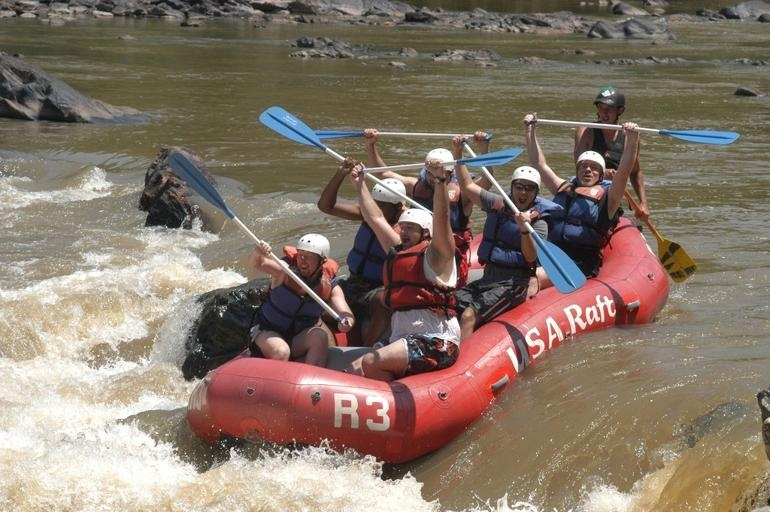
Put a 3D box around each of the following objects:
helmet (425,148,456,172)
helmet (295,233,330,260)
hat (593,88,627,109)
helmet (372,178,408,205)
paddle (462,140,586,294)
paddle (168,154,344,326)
[{"bbox_3d":[0.754,-1.318,14.985,0.368,0.222,0.497,1,-8,1],"label":"helmet"},{"bbox_3d":[-0.924,-0.134,14.670,0.332,0.285,0.394,21,32,30],"label":"helmet"},{"bbox_3d":[3.371,-2.383,16.677,0.378,0.272,0.461,10,18,27],"label":"hat"},{"bbox_3d":[0.043,-0.884,15.258,0.454,0.314,0.309,-21,30,-15],"label":"helmet"},{"bbox_3d":[1.933,-0.489,15.759,0.610,3.464,0.258,-37,-26,-1],"label":"paddle"},{"bbox_3d":[-2.073,-0.188,17.371,4.138,0.458,0.216,36,1,13],"label":"paddle"}]
